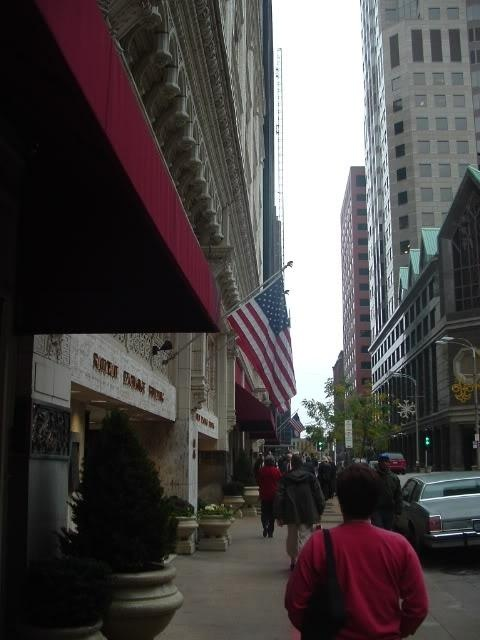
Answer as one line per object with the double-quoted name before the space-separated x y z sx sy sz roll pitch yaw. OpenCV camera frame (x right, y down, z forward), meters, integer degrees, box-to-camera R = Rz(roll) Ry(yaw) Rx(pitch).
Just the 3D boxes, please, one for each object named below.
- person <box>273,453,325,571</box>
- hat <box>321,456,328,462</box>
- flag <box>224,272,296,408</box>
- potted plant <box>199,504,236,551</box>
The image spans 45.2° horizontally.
"person" 1.052 3.556 10.164 0.524 2.085 0.669 -6 -48 10
"hat" 2.879 4.758 19.478 0.177 0.146 0.301 -9 -47 36
"flag" 0.806 0.378 16.173 0.780 4.274 2.425 -10 -17 44
"potted plant" -0.614 5.048 13.933 0.799 1.062 1.104 1 -16 2
